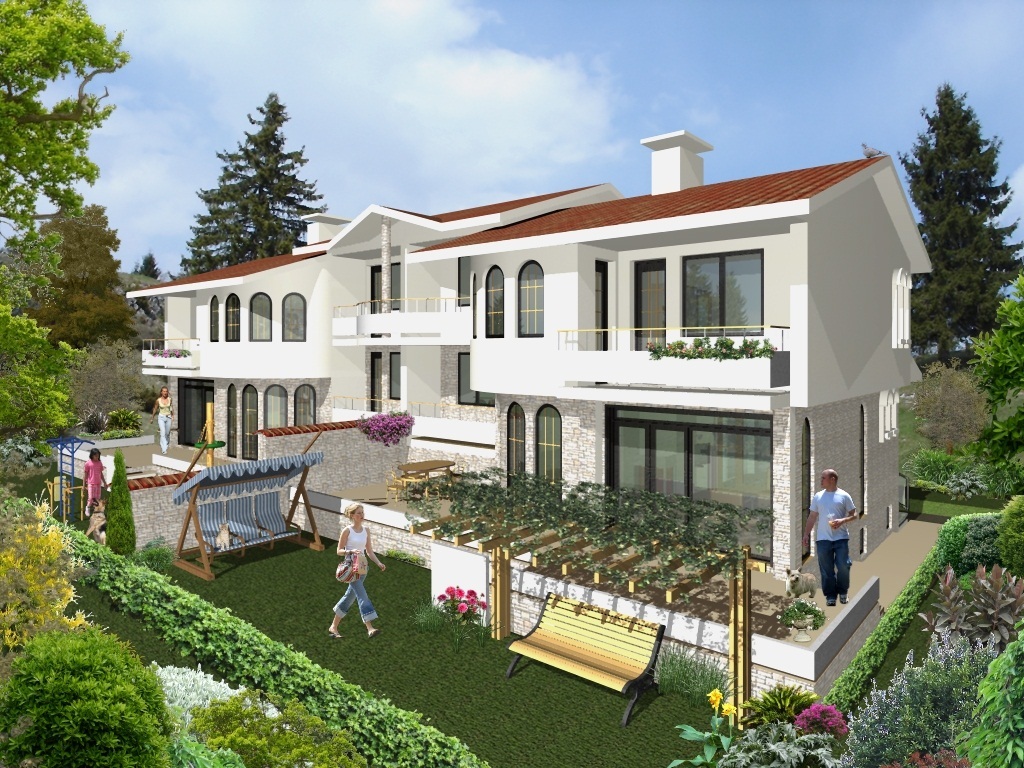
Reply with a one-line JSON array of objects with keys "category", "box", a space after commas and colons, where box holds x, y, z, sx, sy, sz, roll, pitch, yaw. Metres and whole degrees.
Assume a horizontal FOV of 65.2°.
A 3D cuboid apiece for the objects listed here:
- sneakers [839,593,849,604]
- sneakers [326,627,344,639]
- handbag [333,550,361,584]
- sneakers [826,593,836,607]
[{"category": "sneakers", "box": [7.125, 4.585, 17.149, 0.184, 0.203, 0.345, -4, -14, 19]}, {"category": "sneakers", "box": [-3.943, 5.528, 17.853, 0.277, 0.255, 0.105, 27, 16, 17]}, {"category": "handbag", "box": [-3.518, 3.929, 17.236, 0.508, 0.664, 0.323, 3, -3, -29]}, {"category": "sneakers", "box": [6.844, 4.629, 17.102, 0.131, 0.173, 0.236, -1, -8, 0]}]
